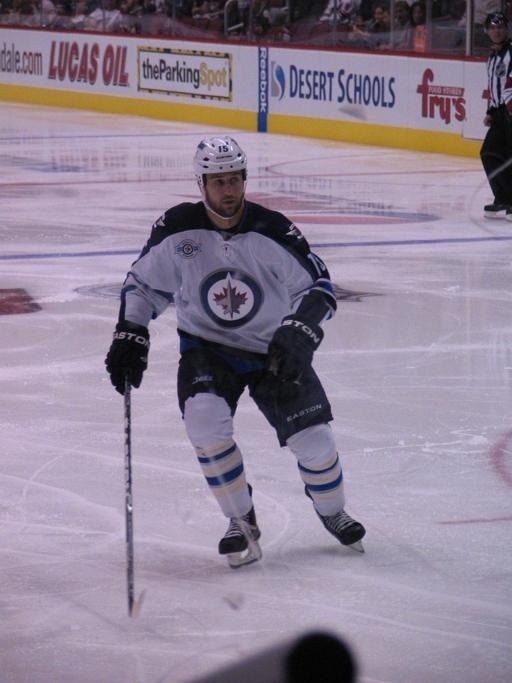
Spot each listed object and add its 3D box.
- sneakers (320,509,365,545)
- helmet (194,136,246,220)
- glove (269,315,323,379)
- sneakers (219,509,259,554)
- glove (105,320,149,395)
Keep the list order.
[{"bbox_3d":[0.222,0.494,2.271,0.052,0.054,0.150,-21,34,-20],"label":"sneakers"},{"bbox_3d":[-0.099,-0.446,2.285,0.142,0.216,0.257,-2,14,-2],"label":"helmet"},{"bbox_3d":[0.098,0.027,2.131,0.139,0.168,0.127,0,15,4],"label":"glove"},{"bbox_3d":[-0.051,0.517,2.200,0.095,0.107,0.156,3,14,15],"label":"sneakers"},{"bbox_3d":[-0.352,0.044,2.250,0.130,0.180,0.079,13,-10,-12],"label":"glove"}]
